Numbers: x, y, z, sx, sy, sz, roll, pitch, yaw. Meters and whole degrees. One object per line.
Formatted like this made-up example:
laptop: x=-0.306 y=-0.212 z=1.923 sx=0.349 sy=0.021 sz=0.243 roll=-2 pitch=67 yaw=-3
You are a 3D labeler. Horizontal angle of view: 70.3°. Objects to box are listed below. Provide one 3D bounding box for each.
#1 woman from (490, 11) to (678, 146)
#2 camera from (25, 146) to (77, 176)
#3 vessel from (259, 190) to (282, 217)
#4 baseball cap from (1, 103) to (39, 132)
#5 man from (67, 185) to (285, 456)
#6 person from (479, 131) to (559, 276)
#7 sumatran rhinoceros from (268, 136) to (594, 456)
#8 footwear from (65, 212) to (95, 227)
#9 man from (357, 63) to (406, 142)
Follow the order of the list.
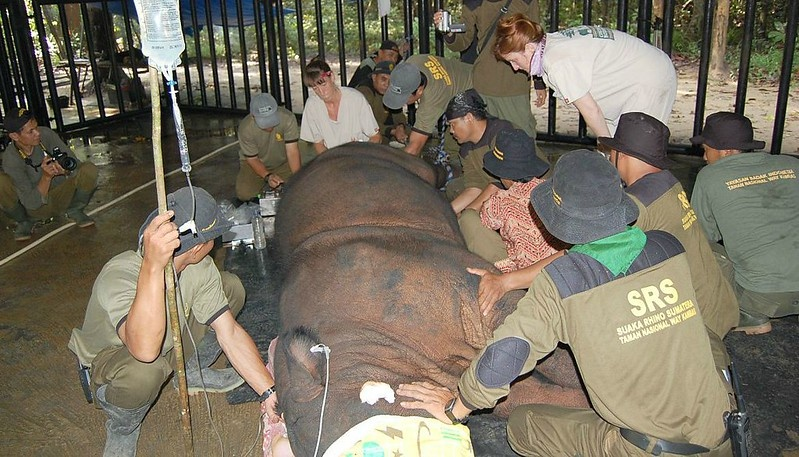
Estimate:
woman: x=1.918 y=-1.528 z=6.057 sx=1.785 sy=1.040 sz=1.119 roll=15 pitch=70 yaw=7
camera: x=-4.653 y=-0.944 z=7.659 sx=0.434 sy=0.250 sz=0.407 roll=26 pitch=36 yaw=26
vessel: x=-1.471 y=-0.271 z=6.467 sx=0.295 sy=0.298 sz=0.163 roll=0 pitch=12 yaw=-9
baseball cap: x=-5.028 y=-1.403 z=7.487 sx=0.367 sy=0.307 sz=0.263 roll=-21 pitch=28 yaw=21
man: x=-1.914 y=0.707 z=4.607 sx=1.616 sy=2.171 sz=1.073 roll=-6 pitch=22 yaw=-9
person: x=1.065 y=-0.185 z=5.204 sx=0.489 sy=1.466 sz=0.617 roll=-32 pitch=55 yaw=-10
sumatran rhinoceros: x=-0.154 y=0.417 z=5.120 sx=1.886 sy=1.306 sz=3.436 roll=19 pitch=26 yaw=-2
footwear: x=-4.287 y=-0.138 z=7.622 sx=0.355 sy=0.142 sz=0.189 roll=11 pitch=37 yaw=13
man: x=-0.267 y=-1.980 z=8.795 sx=0.562 sy=0.990 sz=1.158 roll=4 pitch=18 yaw=-28
